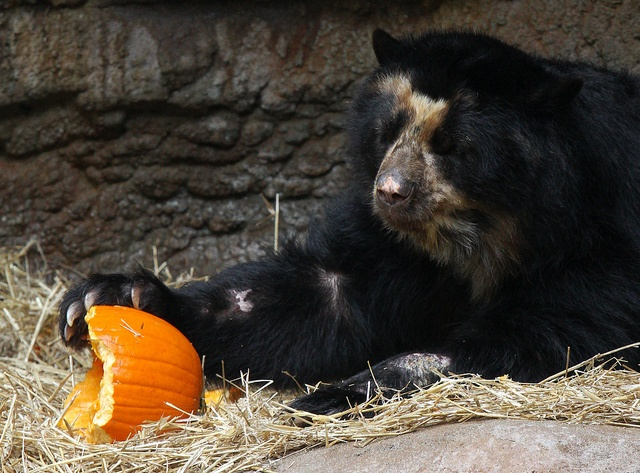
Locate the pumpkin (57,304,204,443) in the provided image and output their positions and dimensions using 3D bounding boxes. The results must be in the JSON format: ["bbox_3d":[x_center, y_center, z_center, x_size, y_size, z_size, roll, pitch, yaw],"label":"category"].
[{"bbox_3d":[-1.195,0.768,6.285,0.989,0.787,1.220,-16,11,-34],"label":"pumpkin"}]
